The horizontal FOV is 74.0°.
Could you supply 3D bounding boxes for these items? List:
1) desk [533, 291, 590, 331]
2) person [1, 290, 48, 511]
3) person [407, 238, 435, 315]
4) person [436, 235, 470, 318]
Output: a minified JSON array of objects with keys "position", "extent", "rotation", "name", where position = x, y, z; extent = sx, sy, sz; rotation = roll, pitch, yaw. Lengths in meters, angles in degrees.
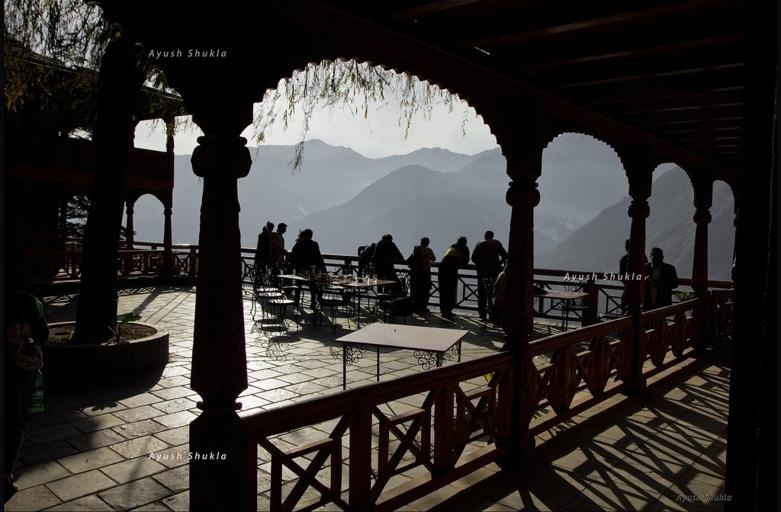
[{"position":[3.317,0.921,10.240],"extent":[0.987,0.634,1.017],"rotation":[6,10,39],"name":"desk"},{"position":[-3.088,1.162,4.361],"extent":[0.210,1.729,0.311],"rotation":[3,3,27],"name":"person"},{"position":[0.706,0.431,11.863],"extent":[0.564,1.725,0.820],"rotation":[2,3,4],"name":"person"},{"position":[1.387,0.445,11.613],"extent":[0.650,1.808,0.960],"rotation":[2,3,12],"name":"person"}]
